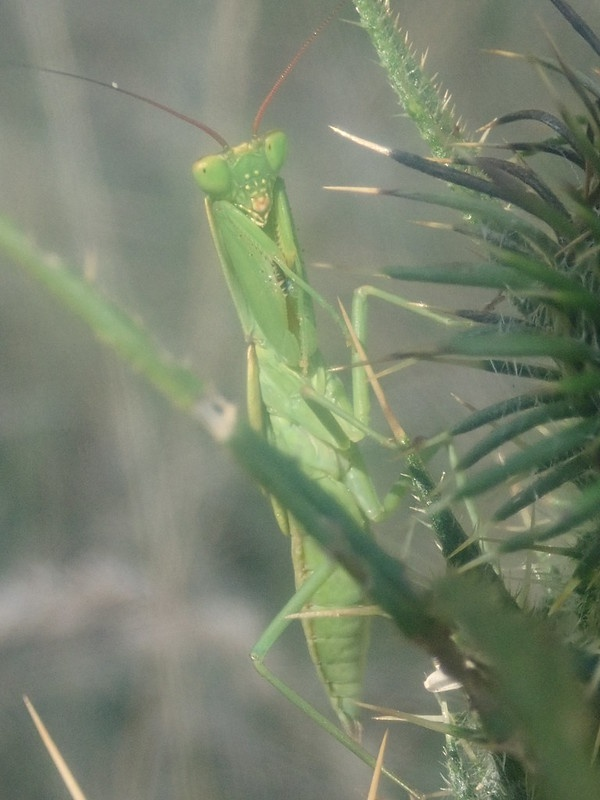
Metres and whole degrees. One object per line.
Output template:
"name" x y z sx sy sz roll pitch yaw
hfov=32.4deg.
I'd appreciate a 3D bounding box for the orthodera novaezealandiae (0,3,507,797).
"orthodera novaezealandiae" 0.027 0.031 0.910 0.320 0.481 0.540 -14 -48 -9
